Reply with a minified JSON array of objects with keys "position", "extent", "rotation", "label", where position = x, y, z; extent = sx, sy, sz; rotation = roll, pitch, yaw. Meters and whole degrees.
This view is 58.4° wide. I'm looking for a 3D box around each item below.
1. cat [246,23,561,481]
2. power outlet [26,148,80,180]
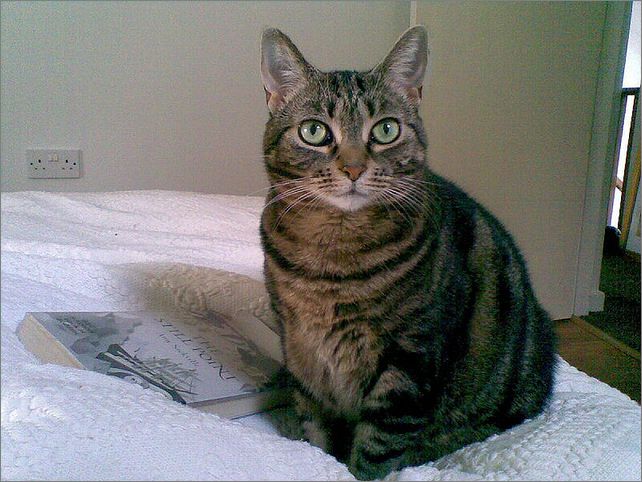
[{"position":[0.080,0.063,1.218],"extent":[0.615,0.805,0.737],"rotation":[-8,-13,28],"label":"cat"},{"position":[-0.576,-0.167,1.240],"extent":[0.132,0.069,0.065],"rotation":[0,5,-4],"label":"power outlet"}]
